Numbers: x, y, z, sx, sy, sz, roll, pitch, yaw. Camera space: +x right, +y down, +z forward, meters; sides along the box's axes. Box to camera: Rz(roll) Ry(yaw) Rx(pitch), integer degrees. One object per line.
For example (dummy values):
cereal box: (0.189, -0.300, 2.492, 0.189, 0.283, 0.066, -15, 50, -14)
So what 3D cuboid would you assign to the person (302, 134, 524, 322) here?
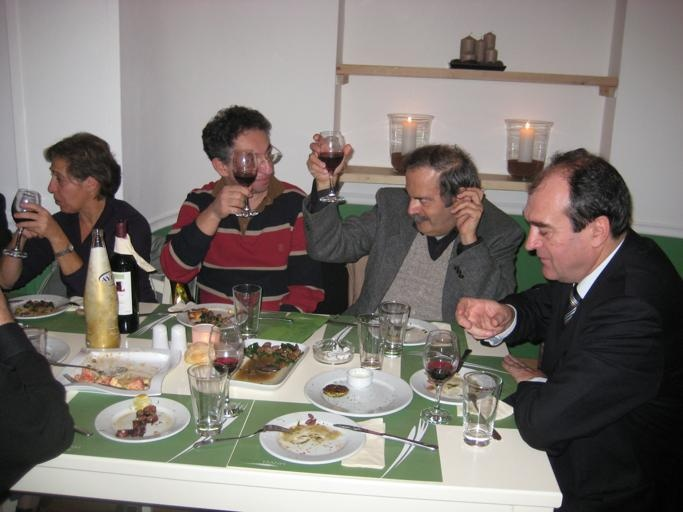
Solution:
person: (0.352, -0.145, 2.511, 0.630, 1.039, 0.419, 25, 36, 17)

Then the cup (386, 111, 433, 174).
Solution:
cup: (0.366, -0.633, 2.984, 0.330, 0.385, 0.330, 0, 13, 0)

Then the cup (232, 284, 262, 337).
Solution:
cup: (-0.342, 0.189, 1.929, 0.119, 0.187, 0.119, 1, 13, 0)

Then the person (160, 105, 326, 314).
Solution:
person: (-0.499, -0.046, 2.585, 0.747, 1.221, 0.695, -1, 23, -9)

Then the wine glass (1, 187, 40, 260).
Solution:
wine glass: (-1.424, -0.135, 2.341, 0.144, 0.328, 0.360, -8, 14, -34)

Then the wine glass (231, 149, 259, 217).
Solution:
wine glass: (-0.431, -0.314, 2.366, 0.100, 0.295, 0.269, -2, 12, -10)

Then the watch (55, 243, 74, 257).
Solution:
watch: (-1.230, -0.028, 2.340, 0.061, 0.024, 0.057, -22, 16, 16)

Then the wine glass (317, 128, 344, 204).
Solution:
wine glass: (-0.046, -0.384, 2.323, 0.113, 0.314, 0.270, 0, 12, -1)

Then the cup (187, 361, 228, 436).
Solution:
cup: (-0.359, 0.386, 1.439, 0.125, 0.182, 0.120, -4, -15, -1)

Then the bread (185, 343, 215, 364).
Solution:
bread: (-0.478, 0.317, 1.719, 0.090, 0.039, 0.101, 5, 36, -10)
